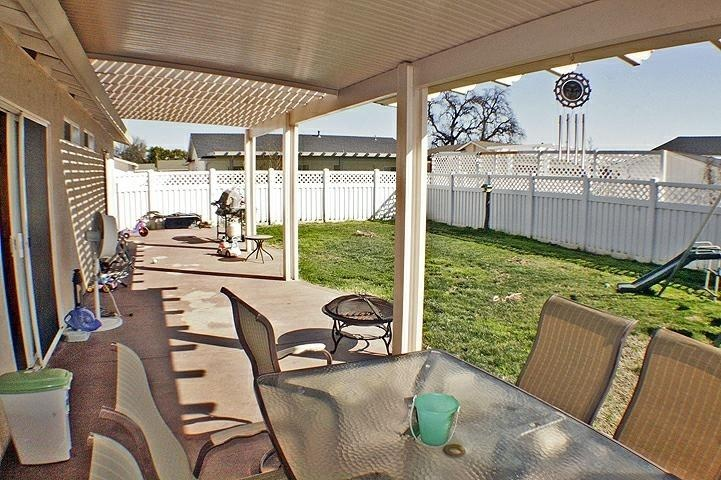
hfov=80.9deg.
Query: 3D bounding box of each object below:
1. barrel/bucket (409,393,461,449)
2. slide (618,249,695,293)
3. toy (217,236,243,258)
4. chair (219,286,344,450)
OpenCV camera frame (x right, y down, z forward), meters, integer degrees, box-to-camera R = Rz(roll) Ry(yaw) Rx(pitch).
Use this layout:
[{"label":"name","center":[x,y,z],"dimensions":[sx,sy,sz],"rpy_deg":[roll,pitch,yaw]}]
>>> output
[{"label":"barrel/bucket","center":[0.425,0.994,2.443],"dimensions":[0.247,0.266,0.230],"rpy_deg":[5,6,-1]},{"label":"slide","center":[5.497,0.558,7.961],"dimensions":[1.079,0.799,1.117],"rpy_deg":[10,17,36]},{"label":"toy","center":[-3.349,0.160,10.810],"dimensions":[0.427,0.451,1.015],"rpy_deg":[-1,9,-24]},{"label":"chair","center":[-0.696,0.956,3.516],"dimensions":[0.742,1.128,0.629],"rpy_deg":[-1,7,-14]}]
